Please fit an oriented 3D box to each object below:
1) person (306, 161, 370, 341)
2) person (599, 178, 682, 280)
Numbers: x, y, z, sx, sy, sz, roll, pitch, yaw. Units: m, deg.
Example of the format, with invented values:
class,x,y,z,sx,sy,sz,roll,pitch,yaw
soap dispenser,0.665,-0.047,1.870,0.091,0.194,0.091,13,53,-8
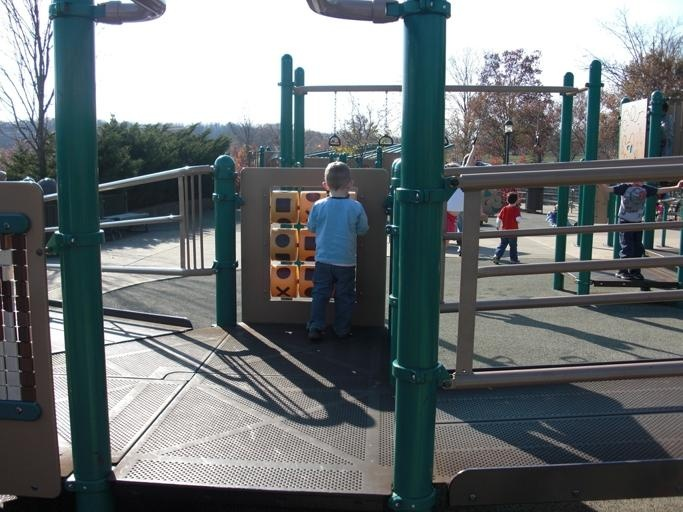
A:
class,x,y,z,sx,sy,sz,roll,pitch,yaw
person,-0.036,-0.052,5.364,0.476,1.398,0.451,0,9,-4
person,3.842,-0.357,8.872,0.541,1.313,3.853,4,10,23
